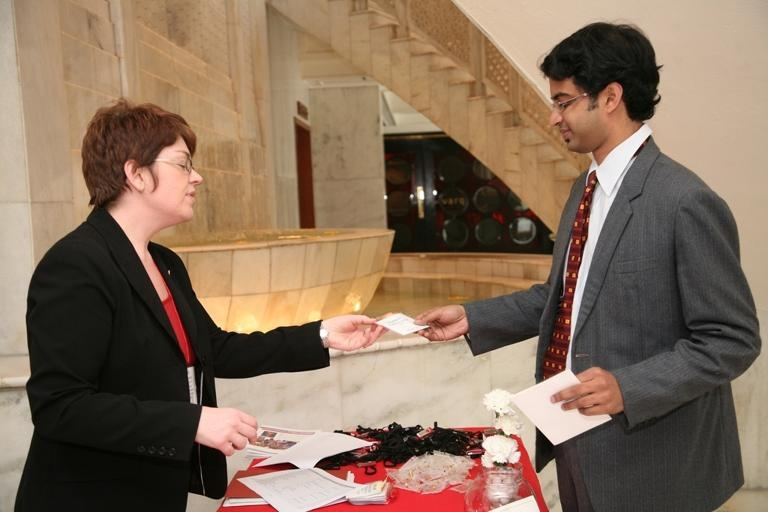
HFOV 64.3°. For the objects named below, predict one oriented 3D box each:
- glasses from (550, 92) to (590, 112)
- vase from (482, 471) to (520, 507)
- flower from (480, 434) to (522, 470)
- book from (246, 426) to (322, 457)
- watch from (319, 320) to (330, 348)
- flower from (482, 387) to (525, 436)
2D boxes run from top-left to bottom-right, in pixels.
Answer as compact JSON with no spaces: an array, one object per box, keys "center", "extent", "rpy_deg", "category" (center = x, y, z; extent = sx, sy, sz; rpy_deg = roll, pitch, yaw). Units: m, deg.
[{"center":[0.700,-0.575,2.308],"extent":[0.074,0.021,0.070],"rpy_deg":[-15,-8,-2],"category":"glasses"},{"center":[0.402,0.808,2.178],"extent":[0.123,0.130,0.120],"rpy_deg":[-2,1,-10],"category":"vase"},{"center":[0.405,0.681,2.153],"extent":[0.129,0.069,0.125],"rpy_deg":[2,3,2],"category":"flower"},{"center":[-0.464,0.806,2.660],"extent":[0.214,0.073,0.215],"rpy_deg":[2,1,32],"category":"book"},{"center":[-0.254,0.342,2.602],"extent":[0.059,0.091,0.093],"rpy_deg":[-3,15,3],"category":"watch"},{"center":[0.409,0.579,2.122],"extent":[0.088,0.120,0.086],"rpy_deg":[-1,8,-10],"category":"flower"}]
